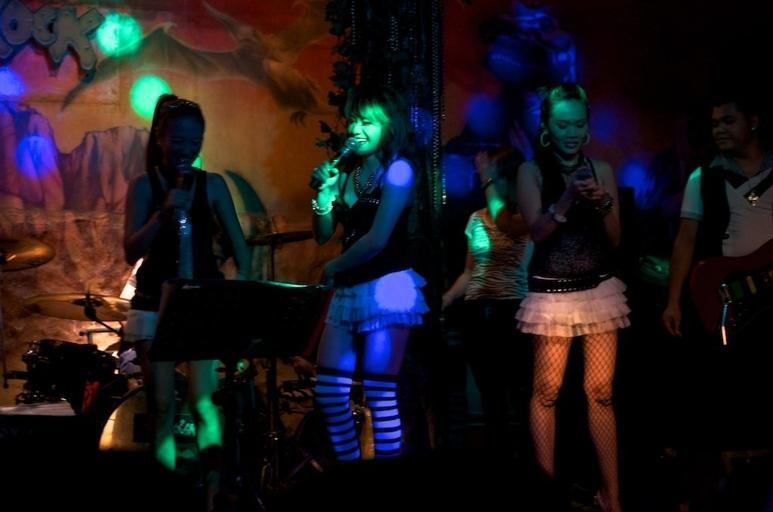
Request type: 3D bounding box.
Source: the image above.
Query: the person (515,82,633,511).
[{"bbox_3d":[1.118,0.248,4.005,0.656,2.572,0.593,-2,-7,8],"label":"person"}]

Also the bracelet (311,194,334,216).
[{"bbox_3d":[-0.381,-0.304,4.031,0.118,0.117,0.053,-3,-11,8],"label":"bracelet"}]

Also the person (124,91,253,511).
[{"bbox_3d":[-1.199,0.211,3.939,0.665,2.463,0.401,-3,-7,19],"label":"person"}]

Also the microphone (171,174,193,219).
[{"bbox_3d":[-1.182,-0.348,3.854,0.102,0.281,0.082,1,-7,-21],"label":"microphone"}]

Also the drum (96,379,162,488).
[{"bbox_3d":[-1.776,1.182,4.526,0.597,0.629,0.466,-3,-9,-9],"label":"drum"}]

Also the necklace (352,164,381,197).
[{"bbox_3d":[-0.135,-0.430,3.895,0.149,0.179,0.064,-2,-15,23],"label":"necklace"}]

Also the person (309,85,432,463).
[{"bbox_3d":[-0.110,0.114,3.902,0.684,2.156,0.407,-1,-7,2],"label":"person"}]

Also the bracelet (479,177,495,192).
[{"bbox_3d":[0.733,-0.530,4.847,0.106,0.067,0.099,-41,-63,17],"label":"bracelet"}]

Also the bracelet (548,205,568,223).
[{"bbox_3d":[1.006,-0.240,3.922,0.088,0.113,0.044,-21,-12,-21],"label":"bracelet"}]

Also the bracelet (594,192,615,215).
[{"bbox_3d":[1.285,-0.316,3.928,0.089,0.144,0.237,-5,-8,30],"label":"bracelet"}]

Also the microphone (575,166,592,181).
[{"bbox_3d":[1.136,-0.472,3.842,0.093,0.083,0.089,1,0,-4],"label":"microphone"}]

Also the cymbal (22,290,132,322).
[{"bbox_3d":[-2.477,0.411,5.344,0.926,0.232,0.290,-2,-7,10],"label":"cymbal"}]
